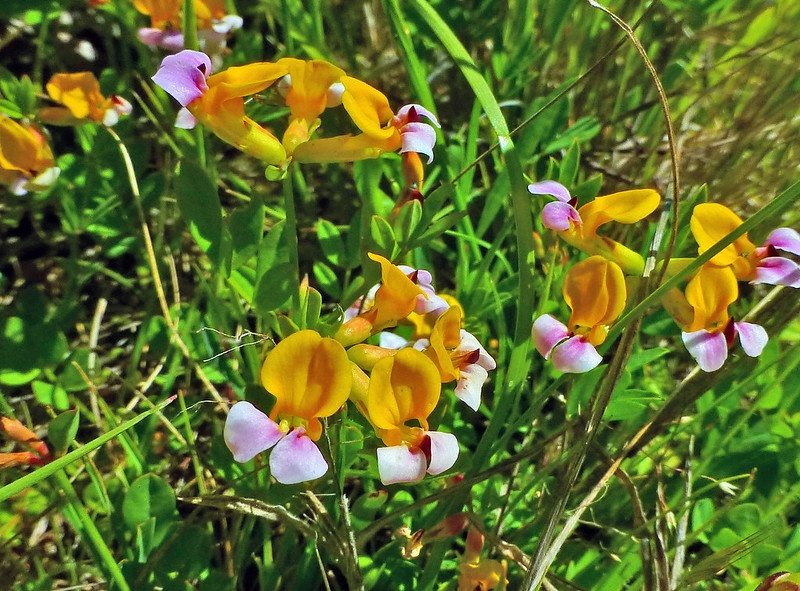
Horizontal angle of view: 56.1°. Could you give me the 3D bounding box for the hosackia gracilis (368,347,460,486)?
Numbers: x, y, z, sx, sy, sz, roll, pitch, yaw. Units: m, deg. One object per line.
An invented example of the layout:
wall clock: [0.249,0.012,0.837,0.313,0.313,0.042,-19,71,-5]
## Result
hosackia gracilis: [0.016,0.301,2.024,0.201,0.136,0.396,-18,116,-3]

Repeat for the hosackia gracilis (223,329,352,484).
hosackia gracilis: [-0.279,0.289,1.973,0.291,0.285,0.423,-6,104,-3]

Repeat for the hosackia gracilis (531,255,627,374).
hosackia gracilis: [0.520,0.058,2.143,0.214,0.138,0.347,30,74,25]

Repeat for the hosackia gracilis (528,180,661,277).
hosackia gracilis: [0.568,-0.228,2.213,0.271,0.218,0.362,-2,100,9]

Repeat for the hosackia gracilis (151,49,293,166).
hosackia gracilis: [-0.472,-0.539,2.076,0.374,0.199,0.196,18,70,-1]
